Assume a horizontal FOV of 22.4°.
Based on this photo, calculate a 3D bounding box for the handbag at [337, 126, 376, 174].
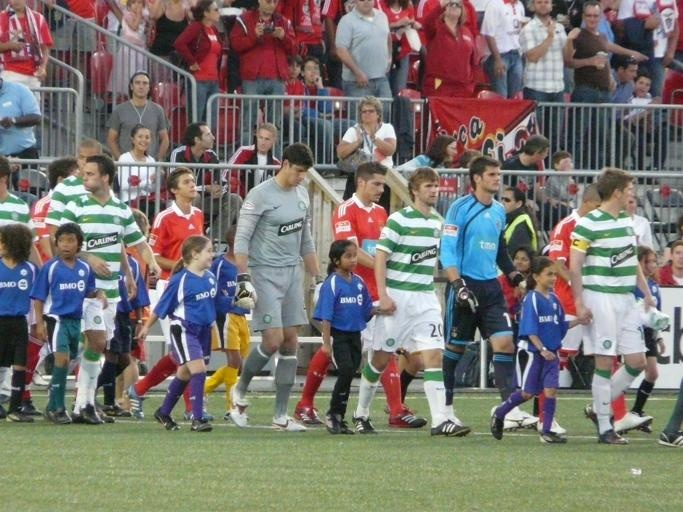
[{"bbox_3d":[0.158,-1.494,22.290,0.351,0.803,0.533,14,-19,-26],"label":"handbag"}]

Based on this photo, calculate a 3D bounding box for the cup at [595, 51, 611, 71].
[{"bbox_3d":[3.947,-2.925,25.929,0.257,0.162,0.289,13,-39,18],"label":"cup"}]

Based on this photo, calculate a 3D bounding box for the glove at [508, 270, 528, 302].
[{"bbox_3d":[1.991,0.351,19.067,0.112,0.260,0.348,-19,-38,-5],"label":"glove"}]

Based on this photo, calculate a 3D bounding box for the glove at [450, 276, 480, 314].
[{"bbox_3d":[1.307,0.413,18.314,0.205,0.108,0.375,-6,39,-21],"label":"glove"}]

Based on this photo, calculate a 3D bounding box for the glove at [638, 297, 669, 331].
[{"bbox_3d":[3.396,0.664,18.645,0.146,0.257,0.368,-9,27,-42],"label":"glove"}]

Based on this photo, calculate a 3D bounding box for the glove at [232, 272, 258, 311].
[{"bbox_3d":[-1.003,0.356,18.100,0.226,0.369,0.352,0,-4,-4],"label":"glove"}]

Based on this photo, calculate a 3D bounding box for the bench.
[{"bbox_3d":[-1.328,1.135,21.419,2.332,0.529,2.054,1,-4,-11],"label":"bench"}]
